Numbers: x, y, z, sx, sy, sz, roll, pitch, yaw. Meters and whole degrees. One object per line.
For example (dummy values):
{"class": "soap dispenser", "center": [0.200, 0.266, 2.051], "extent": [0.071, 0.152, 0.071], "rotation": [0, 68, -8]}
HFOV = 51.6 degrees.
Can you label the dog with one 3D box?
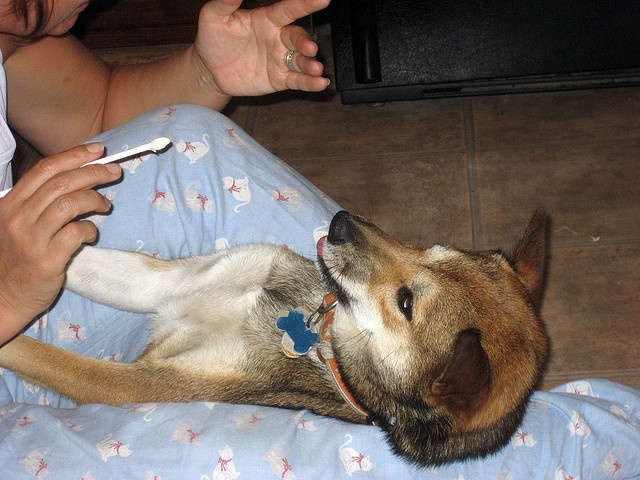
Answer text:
{"class": "dog", "center": [0.029, 0.271, 1.947], "extent": [1.507, 0.701, 0.663], "rotation": [17, 66, -1]}
